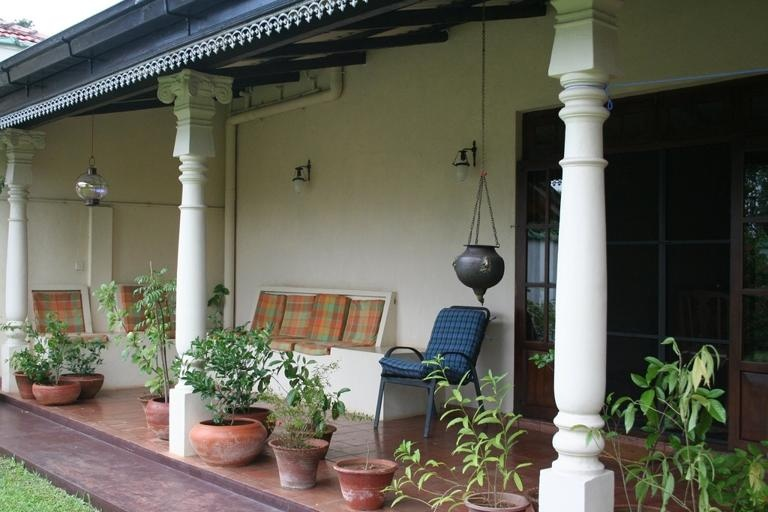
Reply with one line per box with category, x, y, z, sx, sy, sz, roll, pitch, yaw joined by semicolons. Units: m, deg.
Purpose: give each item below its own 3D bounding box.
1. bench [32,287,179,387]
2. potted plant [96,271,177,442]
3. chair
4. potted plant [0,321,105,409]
bench;-3.768;1.109;7.921;0.687;0.940;1.359;8;-12;-43
potted plant;-2.482;1.149;6.721;0.871;1.573;0.679;-7;-1;21
chair;0.567;1.259;6.700;1.140;1.320;0.920;1;-4;-36
potted plant;-4.379;1.428;7.947;1.422;1.036;1.052;1;1;2
